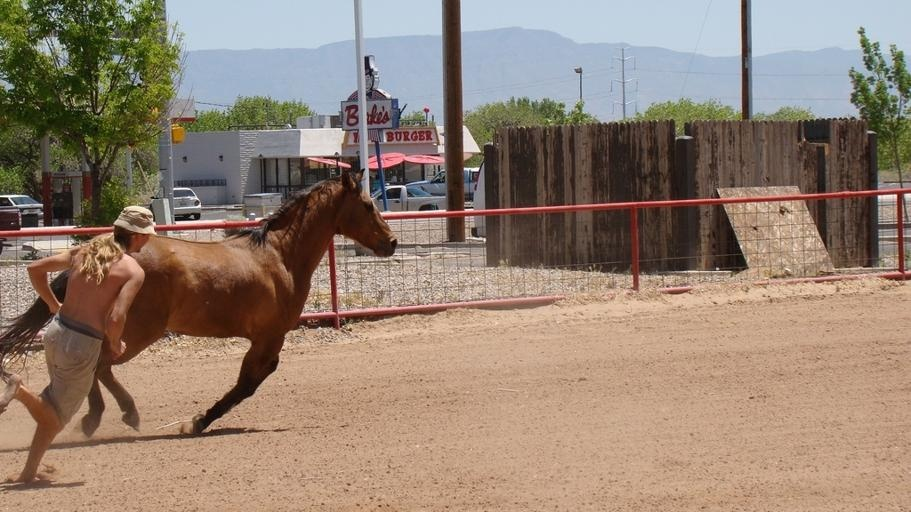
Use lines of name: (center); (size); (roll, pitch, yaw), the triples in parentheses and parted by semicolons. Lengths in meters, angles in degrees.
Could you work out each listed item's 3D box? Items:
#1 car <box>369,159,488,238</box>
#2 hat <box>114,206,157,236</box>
car: (-1.430, -3.289, 47.514); (5.268, 1.817, 2.531); (0, 1, -3)
hat: (-5.164, -0.549, 17.273); (0.503, 0.279, 0.508); (5, 2, 33)
